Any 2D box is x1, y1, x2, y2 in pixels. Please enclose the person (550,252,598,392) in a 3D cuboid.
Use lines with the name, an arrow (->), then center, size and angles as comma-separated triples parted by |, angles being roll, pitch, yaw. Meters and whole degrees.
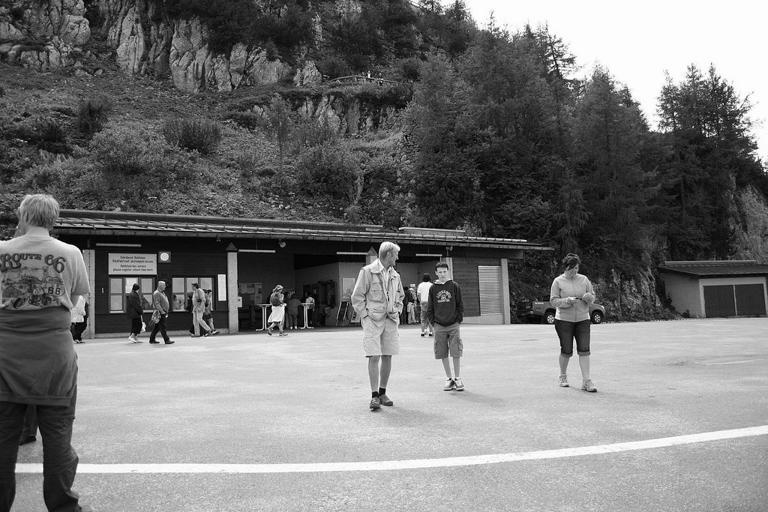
person -> 3.030, 1.021, 11.005 | 0.679, 2.153, 1.148 | -2, -3, 17

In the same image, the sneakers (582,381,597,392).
sneakers -> 3.142, 1.979, 10.476 | 0.212, 0.164, 0.302 | -2, -4, 17

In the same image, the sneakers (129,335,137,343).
sneakers -> -7.582, 2.472, 20.536 | 0.191, 0.259, 0.577 | 5, -11, -34

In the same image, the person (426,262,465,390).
person -> 0.965, 1.106, 10.871 | 0.538, 1.983, 0.371 | -1, -3, 6

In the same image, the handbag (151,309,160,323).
handbag -> -6.569, 1.706, 19.522 | 0.195, 0.364, 0.545 | 1, -4, -32

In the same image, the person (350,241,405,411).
person -> -0.095, 0.952, 9.813 | 0.714, 2.351, 0.833 | -1, -3, 1
